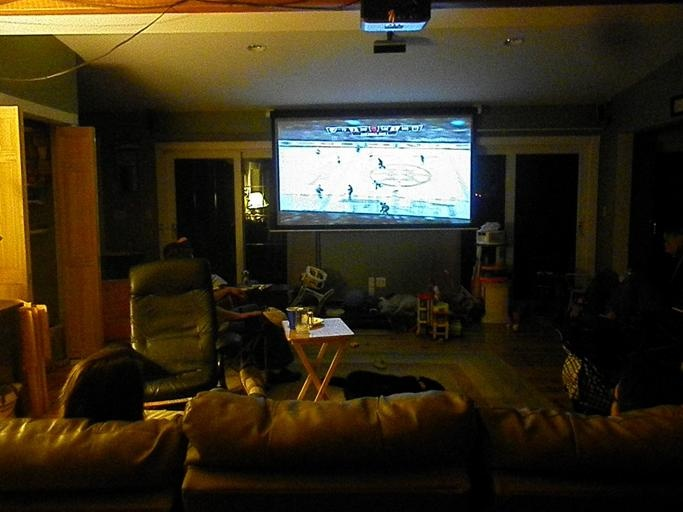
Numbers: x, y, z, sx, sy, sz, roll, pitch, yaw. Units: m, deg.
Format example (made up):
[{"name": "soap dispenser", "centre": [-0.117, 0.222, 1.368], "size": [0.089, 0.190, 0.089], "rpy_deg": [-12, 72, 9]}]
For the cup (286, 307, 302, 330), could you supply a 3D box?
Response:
[{"name": "cup", "centre": [-0.332, 0.430, 3.996], "size": [0.152, 0.149, 0.141], "rpy_deg": [1, -1, 0]}]

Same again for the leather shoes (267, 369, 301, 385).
[{"name": "leather shoes", "centre": [-0.461, 0.953, 4.605], "size": [0.277, 0.100, 0.092], "rpy_deg": [-2, 3, -4]}]

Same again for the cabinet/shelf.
[{"name": "cabinet/shelf", "centre": [-2.494, -0.117, 4.888], "size": [0.504, 2.135, 1.129], "rpy_deg": [-1, 8, 8]}]

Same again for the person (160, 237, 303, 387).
[{"name": "person", "centre": [-0.803, 0.470, 4.477], "size": [0.946, 0.976, 0.635], "rpy_deg": [-7, 23, -23]}]
